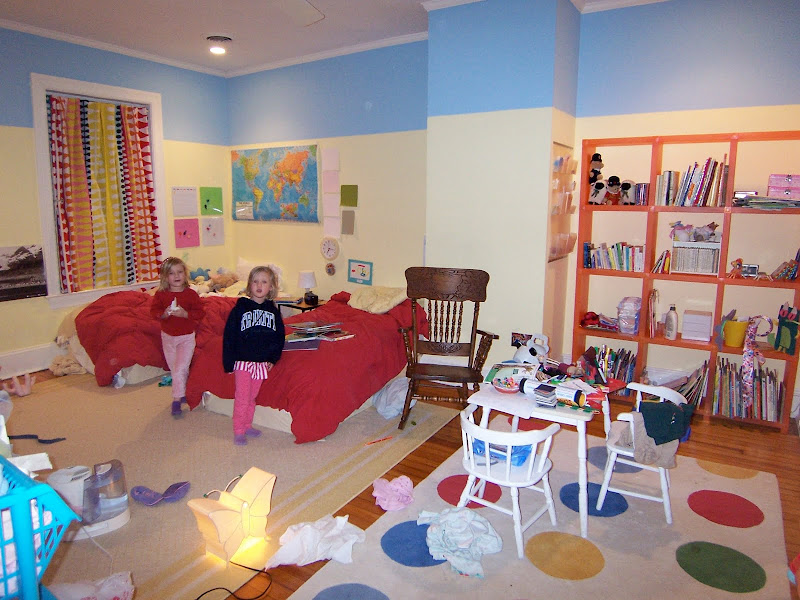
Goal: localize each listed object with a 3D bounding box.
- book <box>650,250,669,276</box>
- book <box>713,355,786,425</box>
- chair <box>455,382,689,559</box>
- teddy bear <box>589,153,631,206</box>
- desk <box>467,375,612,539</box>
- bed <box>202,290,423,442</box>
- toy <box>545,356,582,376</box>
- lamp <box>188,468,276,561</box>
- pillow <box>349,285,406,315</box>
[{"bbox_3d":[2.188,-0.308,4.536,0.059,0.179,0.137,10,9,27],"label":"book"},{"bbox_3d":[2.779,0.729,4.487,0.420,0.522,0.525,3,5,8],"label":"book"},{"bbox_3d":[1.093,0.824,3.430,1.133,0.735,0.968,5,12,32],"label":"chair"},{"bbox_3d":[1.777,-1.027,4.626,0.415,0.503,0.382,7,18,35],"label":"teddy bear"},{"bbox_3d":[0.782,0.985,3.276,0.607,0.701,0.759,15,-22,-13],"label":"desk"},{"bbox_3d":[-0.479,0.523,4.498,1.164,0.475,1.477,9,14,36],"label":"bed"},{"bbox_3d":[1.058,0.430,3.487,0.251,0.073,0.216,7,13,30],"label":"toy"},{"bbox_3d":[-0.912,1.222,3.191,0.377,0.442,0.540,1,2,36],"label":"lamp"},{"bbox_3d":[-0.218,-0.012,5.276,0.364,0.109,0.319,10,20,43],"label":"pillow"}]
